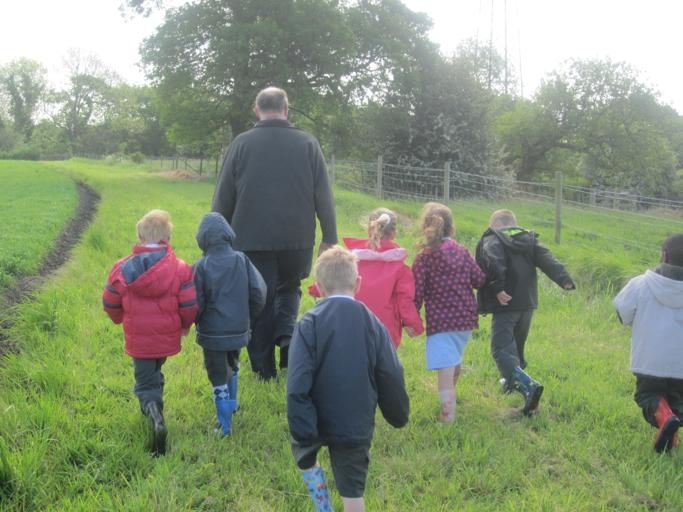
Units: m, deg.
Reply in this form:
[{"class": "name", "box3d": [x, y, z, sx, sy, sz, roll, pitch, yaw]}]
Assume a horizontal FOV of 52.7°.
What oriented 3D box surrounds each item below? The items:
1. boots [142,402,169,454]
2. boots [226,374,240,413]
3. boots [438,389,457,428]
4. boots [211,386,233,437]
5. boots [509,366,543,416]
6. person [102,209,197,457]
[{"class": "boots", "box3d": [-1.737, 1.637, 6.443, 0.159, 0.228, 0.539, -3, 51, -16]}, {"class": "boots", "box3d": [-1.077, 1.364, 6.857, 0.112, 0.481, 0.313, 2, 41, -5]}, {"class": "boots", "box3d": [1.118, 1.522, 7.184, 0.197, 0.380, 0.211, -5, 13, -22]}, {"class": "boots", "box3d": [-1.161, 1.479, 6.724, 0.185, 0.498, 0.205, 2, 6, -12]}, {"class": "boots", "box3d": [1.928, 1.384, 7.302, 0.144, 0.355, 0.779, 22, 10, -9]}, {"class": "person", "box3d": [-1.821, 0.680, 6.650, 0.779, 2.227, 0.599, 6, 7, 31]}]
